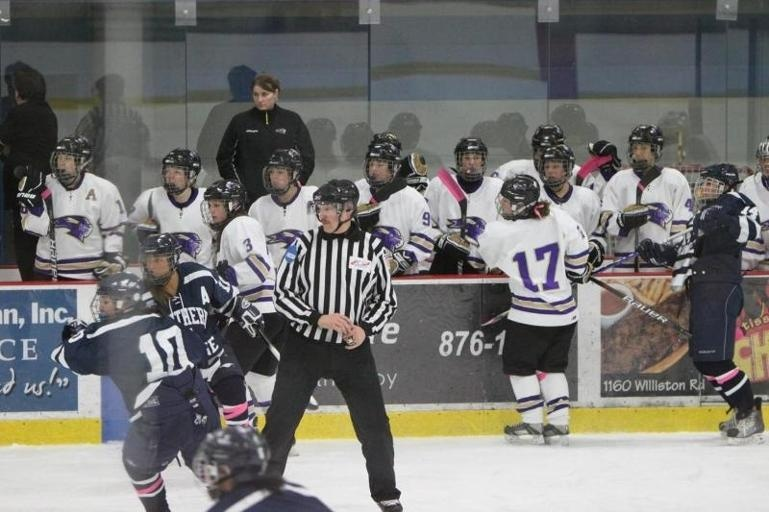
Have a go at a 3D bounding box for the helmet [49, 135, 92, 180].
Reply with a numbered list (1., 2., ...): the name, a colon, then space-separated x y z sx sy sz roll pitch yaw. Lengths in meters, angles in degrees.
1. helmet: -2.529 -0.834 10.245 0.380 0.341 0.287 4 1 -38

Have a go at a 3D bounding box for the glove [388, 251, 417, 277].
1. glove: 0.143 0.056 10.278 0.239 0.104 0.171 -24 40 -14

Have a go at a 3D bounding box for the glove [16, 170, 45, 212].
1. glove: -2.857 -0.532 10.194 0.262 0.312 0.125 8 -5 -21

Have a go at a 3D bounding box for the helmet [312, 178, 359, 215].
1. helmet: -0.327 -0.410 8.598 0.256 0.220 0.213 5 -3 -8

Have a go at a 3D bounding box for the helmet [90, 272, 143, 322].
1. helmet: -1.721 0.247 8.198 0.353 0.262 0.276 0 2 -7

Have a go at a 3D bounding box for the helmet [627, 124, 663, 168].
1. helmet: 2.247 -0.941 10.943 0.316 0.353 0.375 -1 1 30

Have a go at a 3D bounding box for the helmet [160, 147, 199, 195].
1. helmet: -1.625 -0.685 10.040 0.316 0.345 0.365 3 2 16

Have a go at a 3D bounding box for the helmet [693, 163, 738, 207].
1. helmet: 2.634 -0.594 10.291 0.382 0.336 0.312 -2 -3 -10

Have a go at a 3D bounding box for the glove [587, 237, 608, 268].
1. glove: 1.816 -0.039 10.389 0.238 0.222 0.223 -2 8 19

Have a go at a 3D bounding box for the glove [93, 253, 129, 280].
1. glove: -2.158 0.075 9.893 0.216 0.101 0.121 -35 7 -17

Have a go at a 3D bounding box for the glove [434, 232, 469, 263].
1. glove: 0.573 -0.081 10.418 0.204 0.101 0.253 8 -9 32

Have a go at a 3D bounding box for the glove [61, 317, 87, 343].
1. glove: -2.099 0.495 8.498 0.162 0.188 0.199 -3 -31 -15

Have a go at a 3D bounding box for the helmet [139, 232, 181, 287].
1. helmet: -1.466 0.004 8.434 0.268 0.313 0.323 0 7 4

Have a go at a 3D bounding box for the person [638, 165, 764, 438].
1. person: 2.633 0.332 10.145 0.883 2.156 0.560 1 4 28

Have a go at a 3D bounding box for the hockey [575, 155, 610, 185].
1. hockey: 1.864 -0.766 11.196 0.390 0.083 0.113 -31 -6 -8

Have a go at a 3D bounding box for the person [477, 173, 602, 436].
1. person: 1.183 0.400 9.902 0.839 2.089 0.317 0 4 7

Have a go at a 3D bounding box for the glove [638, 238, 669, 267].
1. glove: 2.220 -0.040 10.396 0.090 0.185 0.242 -48 32 -13

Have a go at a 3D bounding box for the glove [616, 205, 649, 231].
1. glove: 2.082 -0.334 10.615 0.234 0.168 0.180 -2 -4 -27
